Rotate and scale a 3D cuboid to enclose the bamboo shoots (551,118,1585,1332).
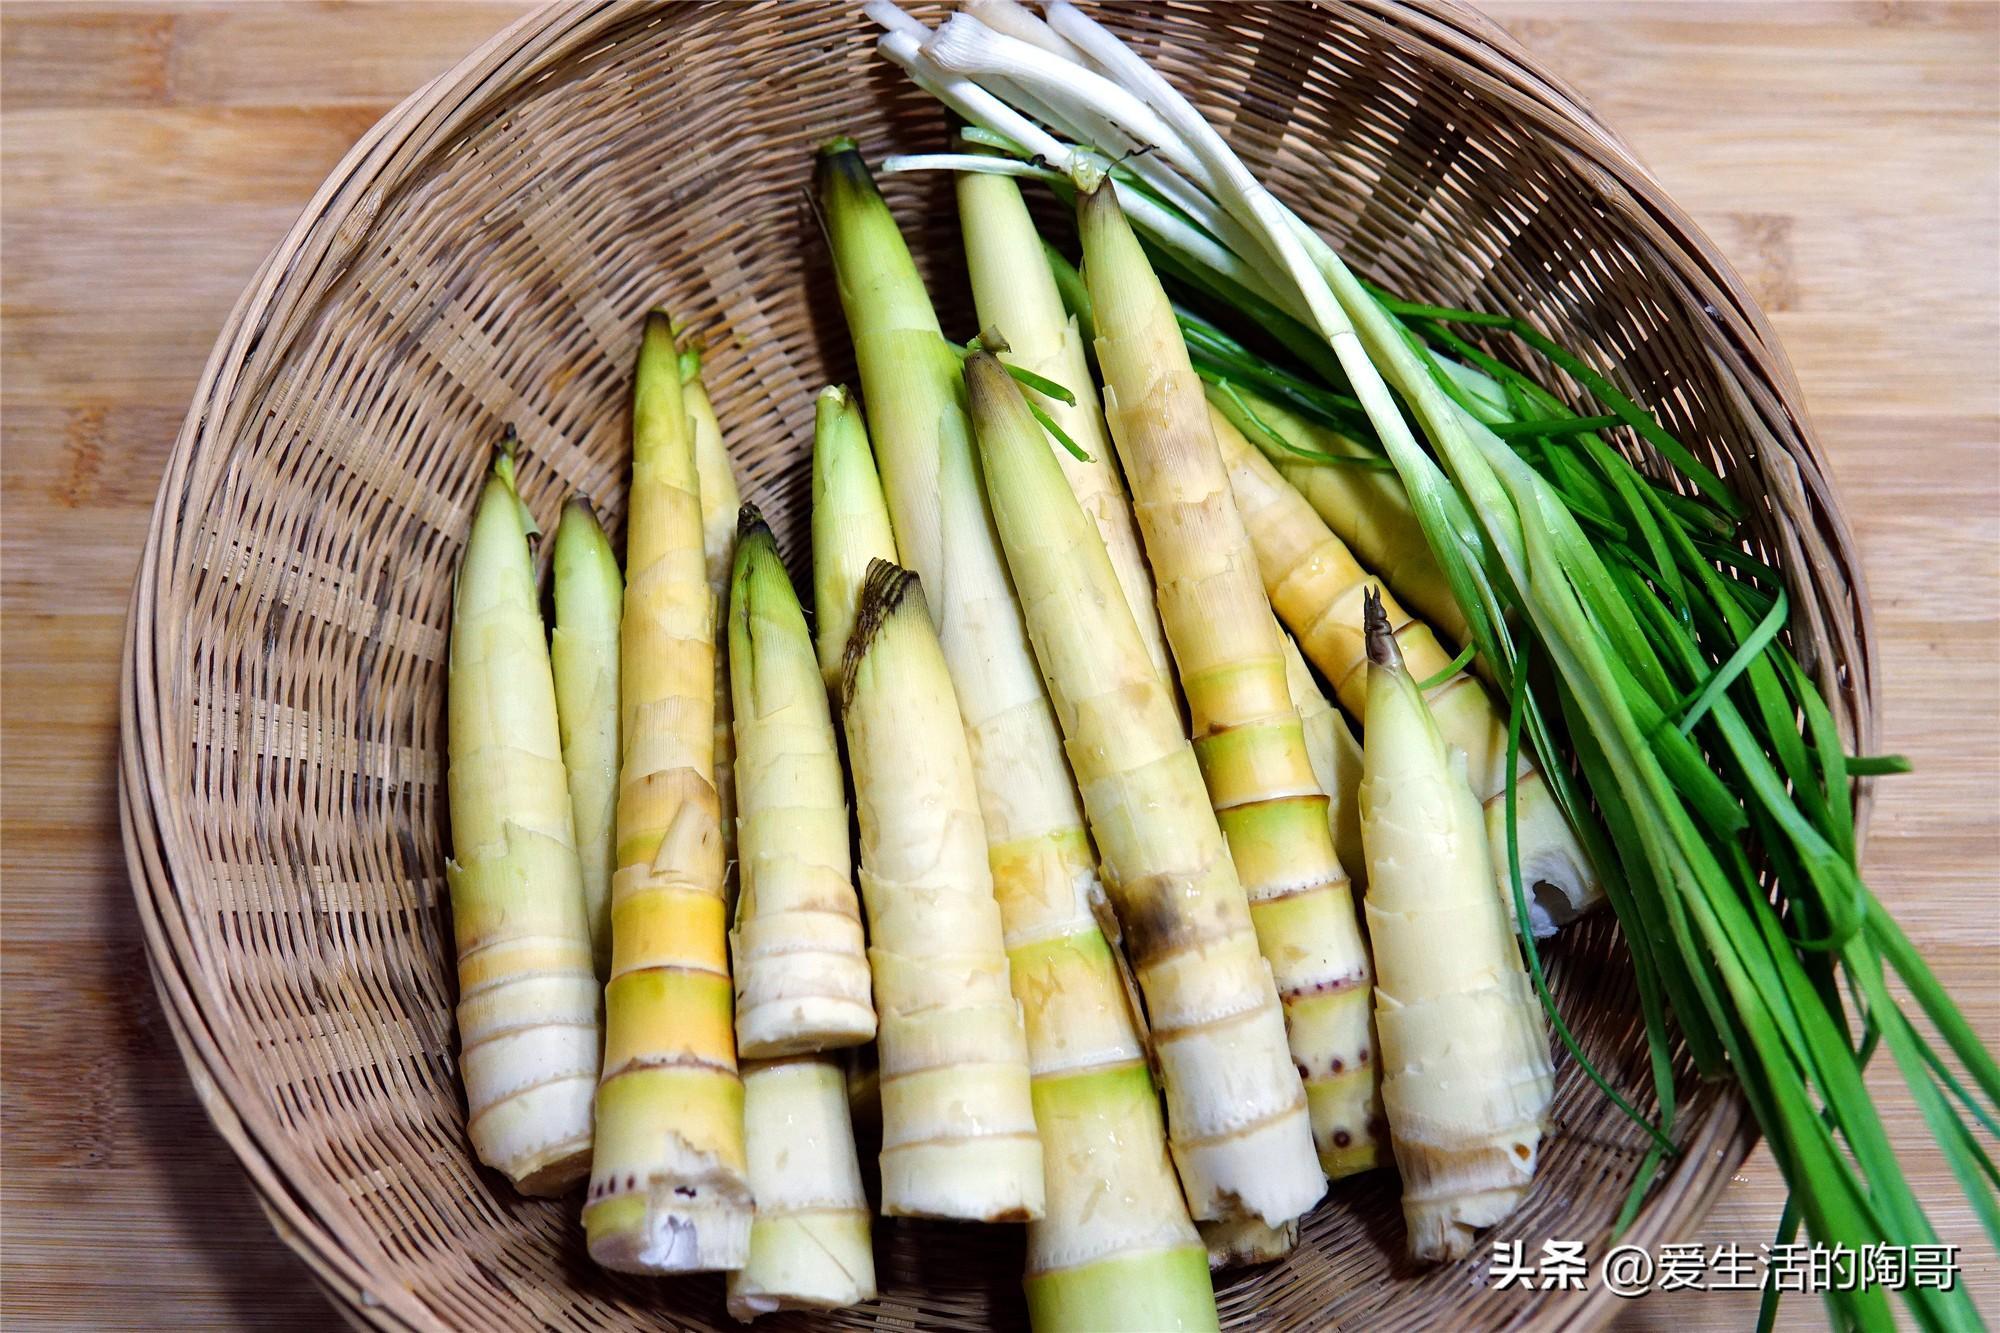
[{"bbox_3d":[0.073,0.016,1.455,0.560,0.178,0.894,-9,79,-2],"label":"bamboo shoots"}]
